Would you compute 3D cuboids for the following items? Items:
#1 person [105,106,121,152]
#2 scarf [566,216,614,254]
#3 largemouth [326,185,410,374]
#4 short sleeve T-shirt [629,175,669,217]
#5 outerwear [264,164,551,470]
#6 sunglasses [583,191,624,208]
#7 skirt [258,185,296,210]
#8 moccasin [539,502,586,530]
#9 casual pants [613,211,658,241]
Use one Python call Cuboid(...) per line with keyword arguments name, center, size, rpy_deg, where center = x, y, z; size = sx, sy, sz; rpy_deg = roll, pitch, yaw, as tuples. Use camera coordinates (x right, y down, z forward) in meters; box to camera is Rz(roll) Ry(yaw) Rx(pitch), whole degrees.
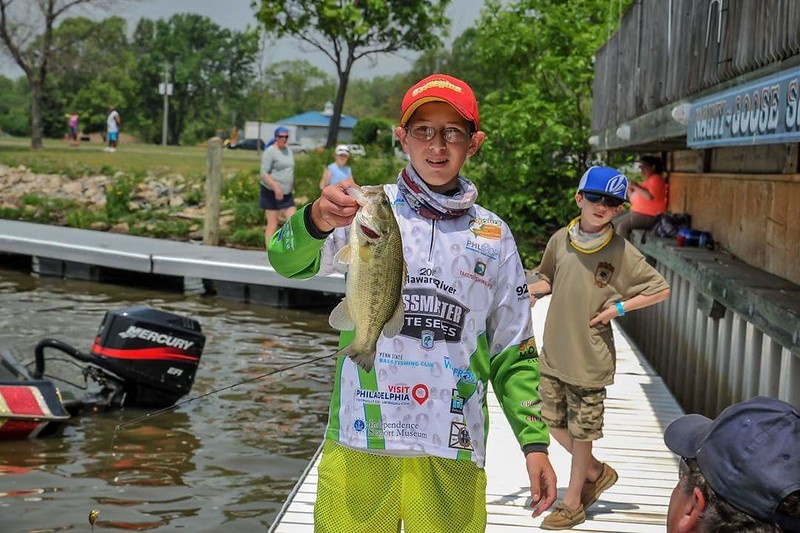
Cuboid(name="person", center=(-7.231, -3.427, 21.402), size=(0.387, 0.985, 1.774), rpy_deg=(-7, 14, -17))
Cuboid(name="scarf", center=(1.618, -0.233, 7.079), size=(0.384, 0.182, 0.436), rpy_deg=(-12, -23, 15))
Cuboid(name="largemouth", center=(-0.201, 0.073, 5.010), size=(0.433, 1.057, 0.180), rpy_deg=(-3, 14, 0))
Cuboid(name="short sleeve T-shirt", center=(3.900, -1.102, 13.425), size=(0.594, 0.729, 0.833), rpy_deg=(3, 6, 13))
Cuboid(name="outerwear", center=(0.095, 0.313, 5.252), size=(2.065, 1.761, 1.024), rpy_deg=(16, -16, -32))
Cuboid(name="sunglasses", center=(1.633, -0.536, 6.914), size=(0.341, 0.132, 0.107), rpy_deg=(2, 14, 18))
Cuboid(name="skirt", center=(-2.139, -1.141, 14.877), size=(0.729, 0.522, 0.390), rpy_deg=(5, 46, -9))
Cuboid(name="moccasin", center=(1.297, 1.973, 6.796), size=(0.351, 0.133, 0.166), rpy_deg=(-1, -4, -32))
Cuboid(name="casual pants", center=(3.589, -0.675, 13.142), size=(0.751, 0.246, 0.757), rpy_deg=(5, 12, 18))
